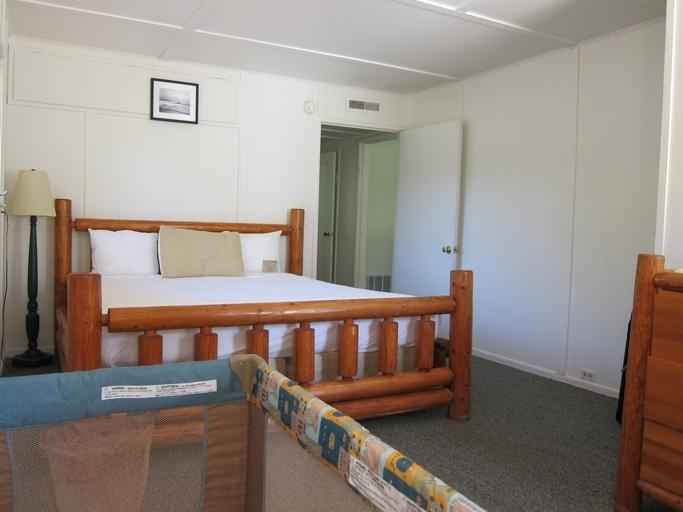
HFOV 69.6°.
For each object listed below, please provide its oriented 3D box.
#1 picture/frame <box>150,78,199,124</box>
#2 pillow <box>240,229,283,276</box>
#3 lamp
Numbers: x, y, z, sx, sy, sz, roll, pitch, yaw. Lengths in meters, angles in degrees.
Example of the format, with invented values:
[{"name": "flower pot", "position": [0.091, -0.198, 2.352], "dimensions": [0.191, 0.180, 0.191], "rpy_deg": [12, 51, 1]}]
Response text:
[{"name": "picture/frame", "position": [-1.536, -1.409, 4.451], "dimensions": [0.387, 0.500, 0.035], "rpy_deg": [-3, 8, -16]}, {"name": "pillow", "position": [-0.747, -0.033, 4.554], "dimensions": [0.315, 0.384, 0.103], "rpy_deg": [1, -9, -31]}, {"name": "lamp", "position": [-2.456, 0.079, 3.923], "dimensions": [0.381, 1.533, 0.361], "rpy_deg": [7, 8, 38]}]
